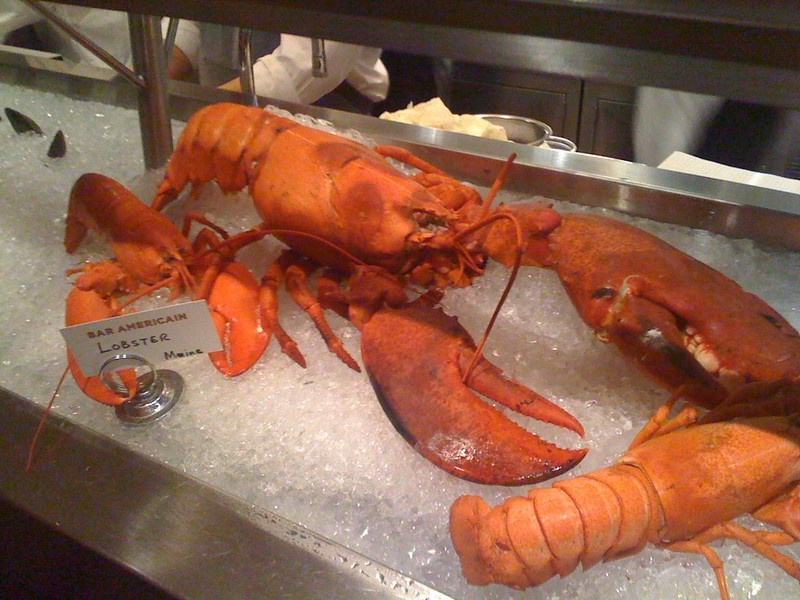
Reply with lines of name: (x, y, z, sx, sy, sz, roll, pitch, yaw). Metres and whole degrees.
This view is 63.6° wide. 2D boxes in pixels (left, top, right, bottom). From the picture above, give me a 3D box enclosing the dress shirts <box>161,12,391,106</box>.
dress shirts: (-0.608, -0.999, 2.799, 0.955, 0.267, 0.664, 16, 33, 10)
